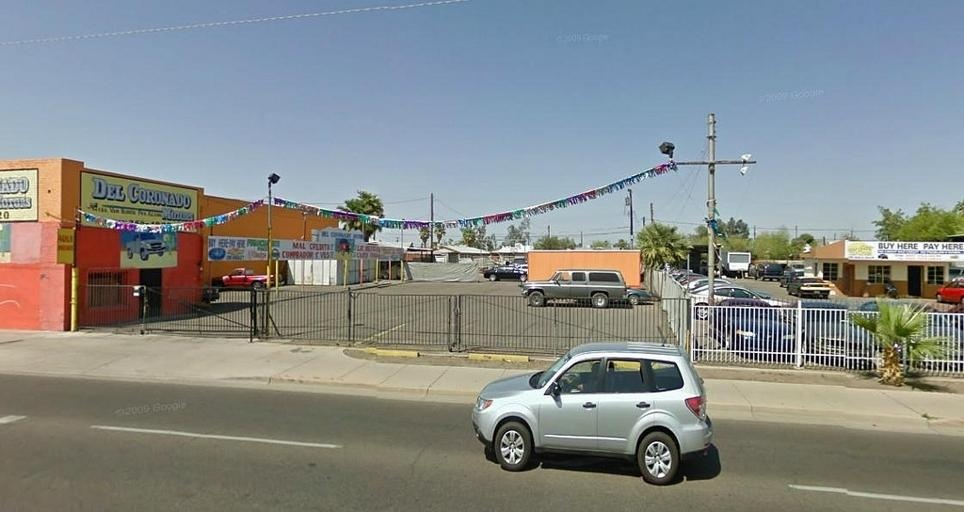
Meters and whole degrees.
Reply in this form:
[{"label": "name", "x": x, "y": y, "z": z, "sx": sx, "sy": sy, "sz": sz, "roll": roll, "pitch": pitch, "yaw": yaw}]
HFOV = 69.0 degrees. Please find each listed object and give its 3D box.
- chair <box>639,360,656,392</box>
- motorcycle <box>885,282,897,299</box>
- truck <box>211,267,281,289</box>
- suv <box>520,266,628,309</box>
[{"label": "chair", "x": 5.471, "y": 3.905, "z": 22.969, "sx": 0.336, "sy": 0.906, "sz": 0.398, "roll": 1, "pitch": 15, "yaw": 5}, {"label": "motorcycle", "x": 30.257, "y": 2.490, "z": 51.826, "sx": 0.825, "sy": 0.784, "sz": 2.040, "roll": 8, "pitch": 16, "yaw": 29}, {"label": "truck", "x": -17.982, "y": 1.656, "z": 52.757, "sx": 3.514, "sy": 1.182, "sz": 1.698, "roll": 2, "pitch": -3, "yaw": 1}, {"label": "suv", "x": 5.806, "y": 1.885, "z": 42.988, "sx": 5.758, "sy": 1.942, "sz": 2.784, "roll": 1, "pitch": -4, "yaw": 3}]
